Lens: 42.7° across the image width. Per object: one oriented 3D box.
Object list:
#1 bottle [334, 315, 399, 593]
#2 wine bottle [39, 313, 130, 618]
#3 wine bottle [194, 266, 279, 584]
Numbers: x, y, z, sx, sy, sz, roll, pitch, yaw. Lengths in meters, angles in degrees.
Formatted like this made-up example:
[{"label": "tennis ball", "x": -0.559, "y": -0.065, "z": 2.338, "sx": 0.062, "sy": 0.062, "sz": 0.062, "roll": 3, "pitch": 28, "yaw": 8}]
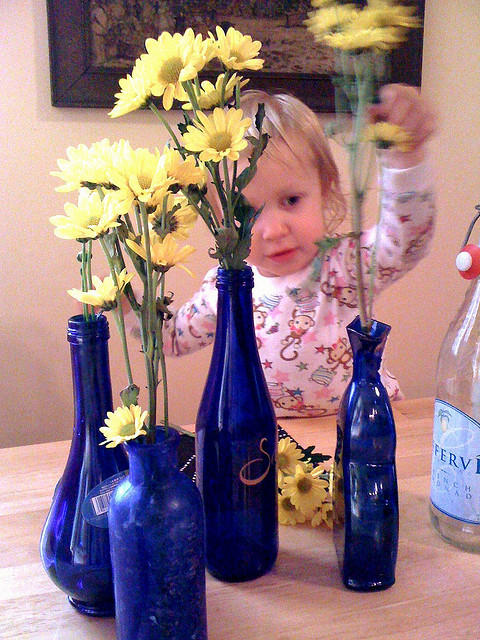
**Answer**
[{"label": "bottle", "x": 0.102, "y": 0.110, "z": 0.487, "sx": 0.044, "sy": 0.209, "sz": 0.066, "roll": 1, "pitch": 19, "yaw": 11}, {"label": "wine bottle", "x": -0.110, "y": 0.111, "z": 0.478, "sx": 0.096, "sy": 0.223, "sz": 0.102, "roll": -2, "pitch": 9, "yaw": 0}, {"label": "wine bottle", "x": -0.006, "y": 0.088, "z": 0.505, "sx": 0.074, "sy": 0.250, "sz": 0.066, "roll": 1, "pitch": 5, "yaw": 10}]
